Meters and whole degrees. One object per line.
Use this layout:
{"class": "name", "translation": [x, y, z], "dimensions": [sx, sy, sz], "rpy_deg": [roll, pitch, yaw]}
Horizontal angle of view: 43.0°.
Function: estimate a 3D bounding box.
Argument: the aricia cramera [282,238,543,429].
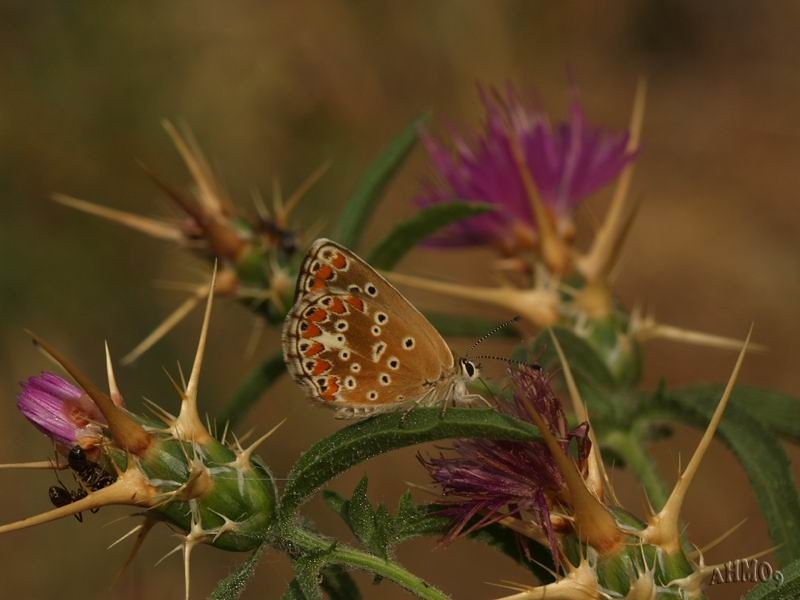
{"class": "aricia cramera", "translation": [0.037, 0.084, 3.219], "dimensions": [0.447, 0.881, 0.745], "rpy_deg": [-4, 8, -30]}
